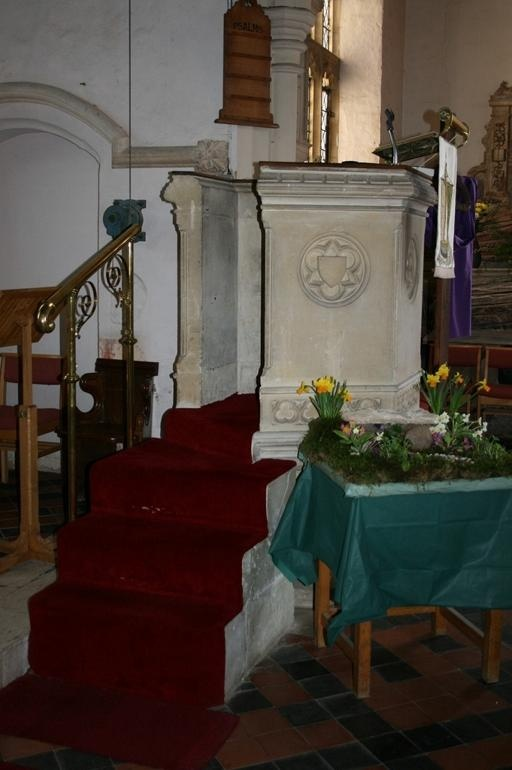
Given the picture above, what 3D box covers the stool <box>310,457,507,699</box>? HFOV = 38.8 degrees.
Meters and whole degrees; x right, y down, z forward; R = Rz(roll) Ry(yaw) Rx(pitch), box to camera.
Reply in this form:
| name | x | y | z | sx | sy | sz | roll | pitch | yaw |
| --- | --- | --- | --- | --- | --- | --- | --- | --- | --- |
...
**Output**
| name | x | y | z | sx | sy | sz | roll | pitch | yaw |
| --- | --- | --- | --- | --- | --- | --- | --- | --- | --- |
| stool | 0.517 | 0.767 | 2.599 | 0.503 | 0.476 | 0.476 | 1 | -4 | -9 |
